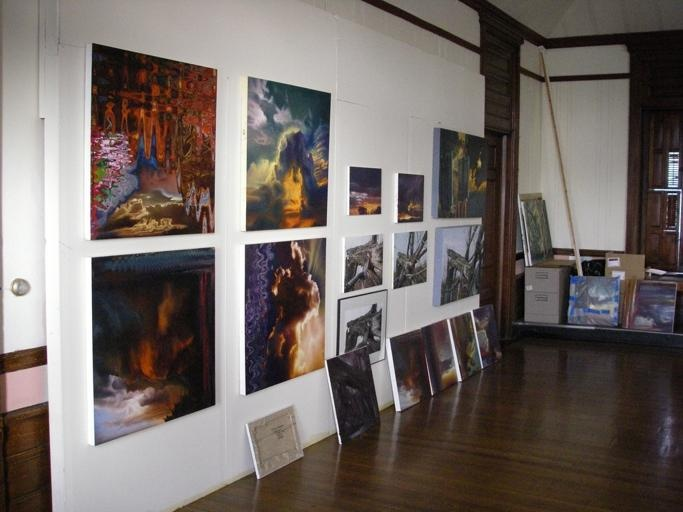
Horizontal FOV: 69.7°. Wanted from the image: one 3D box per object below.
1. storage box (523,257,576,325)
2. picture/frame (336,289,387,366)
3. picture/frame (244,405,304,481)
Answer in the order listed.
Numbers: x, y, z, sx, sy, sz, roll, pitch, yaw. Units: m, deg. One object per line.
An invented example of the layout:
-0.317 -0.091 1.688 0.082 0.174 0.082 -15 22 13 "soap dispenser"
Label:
2.779 0.495 6.695 0.570 0.756 0.544 2 9 25 "storage box"
0.141 0.566 3.963 0.021 0.649 0.571 7 10 39 "picture/frame"
-0.469 1.261 3.280 0.028 0.377 0.406 -13 -2 34 "picture/frame"
